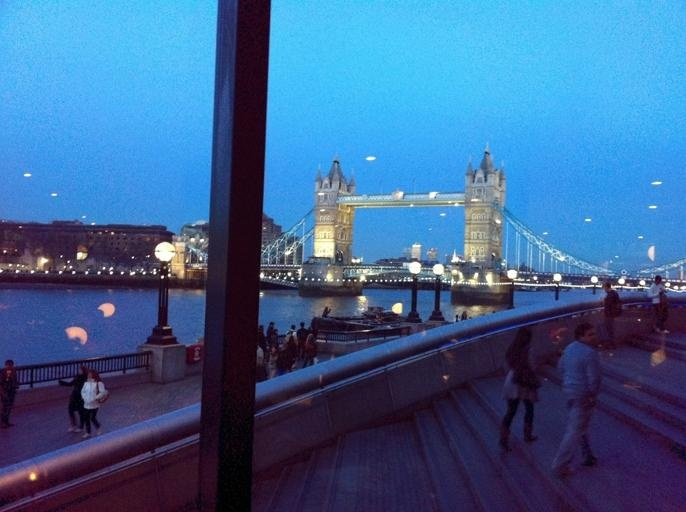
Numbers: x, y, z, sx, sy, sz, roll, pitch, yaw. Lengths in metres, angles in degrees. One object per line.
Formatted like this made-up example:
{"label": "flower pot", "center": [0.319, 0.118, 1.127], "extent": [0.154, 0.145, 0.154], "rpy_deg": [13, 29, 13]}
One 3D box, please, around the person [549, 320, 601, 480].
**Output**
{"label": "person", "center": [2.109, 1.260, 5.436], "extent": [0.456, 1.397, 0.759], "rpy_deg": [-5, -1, 23]}

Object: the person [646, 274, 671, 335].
{"label": "person", "center": [5.282, 0.792, 9.989], "extent": [0.250, 1.057, 1.024], "rpy_deg": [-5, -1, 27]}

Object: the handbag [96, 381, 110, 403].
{"label": "handbag", "center": [-3.579, 2.017, 8.889], "extent": [0.140, 0.314, 0.596], "rpy_deg": [-4, -1, -23]}

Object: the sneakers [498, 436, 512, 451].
{"label": "sneakers", "center": [1.513, 1.746, 5.582], "extent": [0.062, 0.137, 0.146], "rpy_deg": [-5, -1, 42]}

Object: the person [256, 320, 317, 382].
{"label": "person", "center": [-1.265, 2.170, 13.620], "extent": [1.093, 0.581, 1.693], "rpy_deg": [1, 3, 17]}

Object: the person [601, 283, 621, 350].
{"label": "person", "center": [4.096, 0.870, 9.104], "extent": [0.259, 1.054, 0.606], "rpy_deg": [-5, -1, 24]}

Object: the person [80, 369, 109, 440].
{"label": "person", "center": [-3.783, 2.197, 9.074], "extent": [0.347, 0.867, 1.132], "rpy_deg": [-4, -1, -25]}
